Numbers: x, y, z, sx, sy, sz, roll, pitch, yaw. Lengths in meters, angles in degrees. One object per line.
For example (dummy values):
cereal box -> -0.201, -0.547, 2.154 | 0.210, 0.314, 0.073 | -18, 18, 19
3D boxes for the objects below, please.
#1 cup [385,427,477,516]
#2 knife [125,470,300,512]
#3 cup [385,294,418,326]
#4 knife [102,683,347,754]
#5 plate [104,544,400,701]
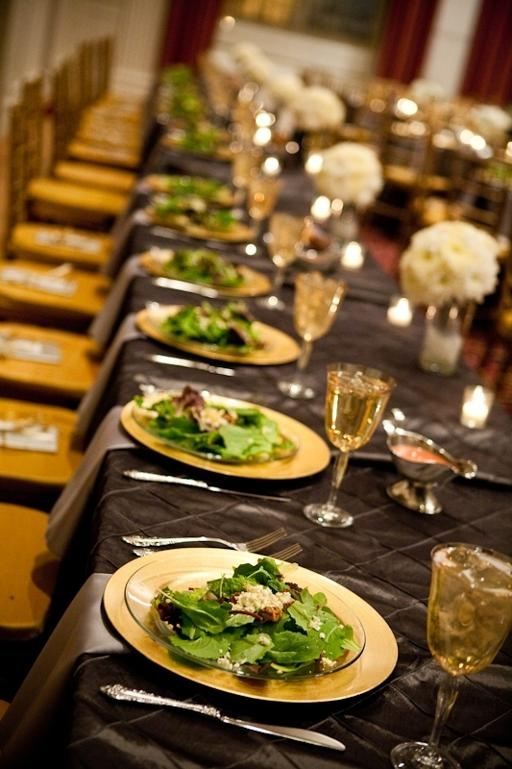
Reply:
cup -> 0.239, 0.119, 0.913 | 0.083, 0.097, 0.155 | -20, 32, -27
knife -> -0.062, 0.133, 0.796 | 0.184, 0.010, 0.020 | 12, 15, -21
cup -> 0.418, -0.216, 1.884 | 0.090, 0.099, 0.089 | 1, 30, 0
knife -> -0.018, 0.239, 0.465 | 0.209, 0.014, 0.020 | 21, 61, -18
plate -> 0.000, 0.194, 0.502 | 0.149, 0.015, 0.143 | 6, 18, -10
